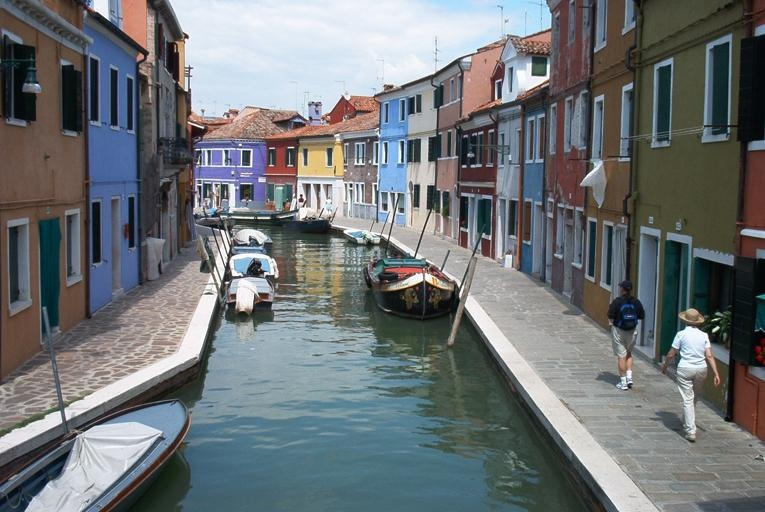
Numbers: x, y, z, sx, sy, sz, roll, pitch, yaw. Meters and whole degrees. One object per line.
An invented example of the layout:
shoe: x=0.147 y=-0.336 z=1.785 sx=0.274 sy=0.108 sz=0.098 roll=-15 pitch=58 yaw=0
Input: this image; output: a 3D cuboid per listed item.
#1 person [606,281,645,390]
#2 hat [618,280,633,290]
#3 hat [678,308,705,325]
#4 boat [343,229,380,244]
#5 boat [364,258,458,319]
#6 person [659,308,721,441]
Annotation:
person: x=5.314 y=1.729 z=15.679 sx=0.688 sy=2.320 sz=0.791 roll=-2 pitch=13 yaw=23
hat: x=5.313 y=0.676 z=15.717 sx=0.236 sy=0.197 sz=0.350 roll=2 pitch=18 yaw=9
hat: x=6.099 y=1.175 z=14.133 sx=0.329 sy=0.145 sz=0.368 roll=-6 pitch=30 yaw=-12
boat: x=-1.251 y=-1.146 z=45.439 sx=1.412 sy=0.739 sz=2.478 roll=-13 pitch=13 yaw=-27
boat: x=0.941 y=1.092 z=25.993 sx=2.483 sy=1.684 sz=4.311 roll=-9 pitch=12 yaw=-9
person: x=5.764 y=2.219 z=13.398 sx=0.872 sy=2.315 sz=0.822 roll=0 pitch=14 yaw=33
